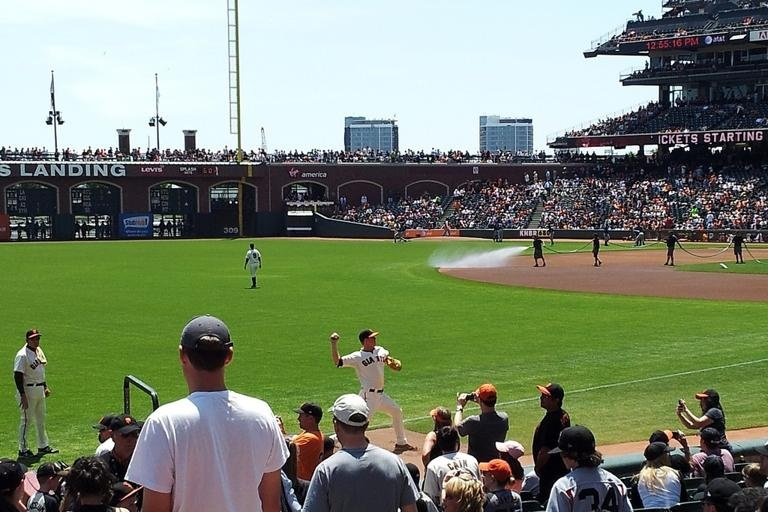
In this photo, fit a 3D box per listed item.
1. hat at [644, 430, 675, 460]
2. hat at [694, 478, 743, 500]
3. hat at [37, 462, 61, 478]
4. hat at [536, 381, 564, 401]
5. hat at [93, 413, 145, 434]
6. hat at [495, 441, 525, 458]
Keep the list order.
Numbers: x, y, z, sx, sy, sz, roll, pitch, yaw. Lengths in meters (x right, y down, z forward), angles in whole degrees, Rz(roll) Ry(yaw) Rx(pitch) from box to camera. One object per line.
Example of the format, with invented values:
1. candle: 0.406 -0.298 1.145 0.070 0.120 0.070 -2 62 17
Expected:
1. hat: 11.118 7.471 62.095 1.028 0.516 0.653 -22 15 -37
2. hat: 12.939 9.089 59.465 1.259 0.621 0.888 -3 -3 16
3. hat: -13.289 8.525 60.690 0.920 0.422 0.537 -4 7 -21
4. hat: 6.772 5.486 62.243 1.094 0.385 0.673 11 0 1
5. hat: -10.765 6.727 61.641 1.474 0.431 0.884 2 -2 2
6. hat: 5.080 7.801 62.129 1.020 0.361 0.626 12 14 9
